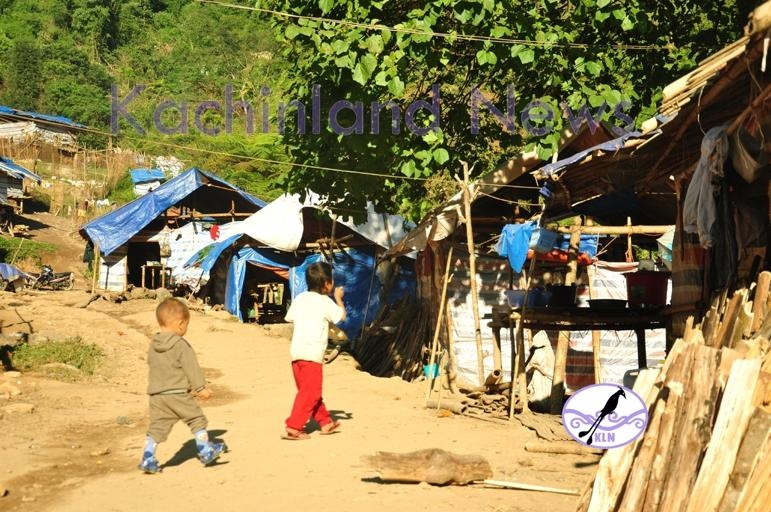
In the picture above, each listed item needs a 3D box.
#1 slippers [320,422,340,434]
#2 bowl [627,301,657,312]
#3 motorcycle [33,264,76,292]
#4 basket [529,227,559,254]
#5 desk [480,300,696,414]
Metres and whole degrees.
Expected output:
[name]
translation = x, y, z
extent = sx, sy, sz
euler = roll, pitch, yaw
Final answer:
[slippers]
translation = -0.882, 2.806, 15.746
extent = 0.141, 0.104, 0.320
euler = 18, 29, 42
[bowl]
translation = 4.290, 0.858, 16.294
extent = 0.440, 0.110, 0.138
euler = 5, -3, 6
[motorcycle]
translation = -11.840, 0.850, 34.485
extent = 1.311, 0.785, 0.664
euler = 6, -12, 4
[basket]
translation = 2.765, -0.206, 17.187
extent = 0.437, 0.432, 0.426
euler = 28, -17, -18
[desk]
translation = 3.365, 1.997, 16.851
extent = 2.367, 1.329, 2.486
euler = 0, 2, -1
